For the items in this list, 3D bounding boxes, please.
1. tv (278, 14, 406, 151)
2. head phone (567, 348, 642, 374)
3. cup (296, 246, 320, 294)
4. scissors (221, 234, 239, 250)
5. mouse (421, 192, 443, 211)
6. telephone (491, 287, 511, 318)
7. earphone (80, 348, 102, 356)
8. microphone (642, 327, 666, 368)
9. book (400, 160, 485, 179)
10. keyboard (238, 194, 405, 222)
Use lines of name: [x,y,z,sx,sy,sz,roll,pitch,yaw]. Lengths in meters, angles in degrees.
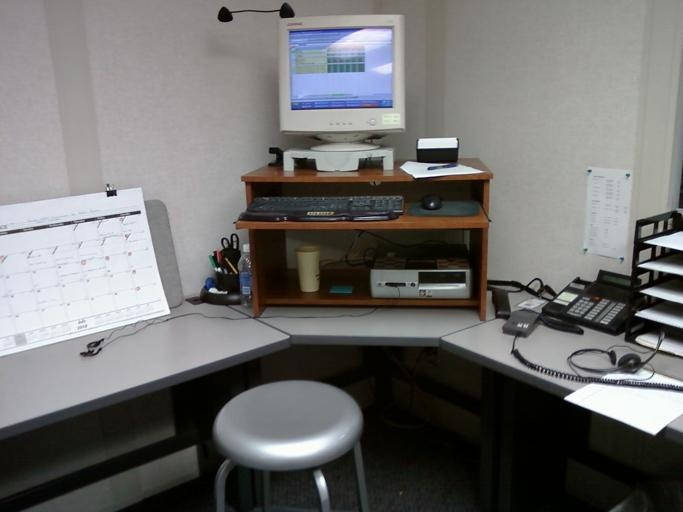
tv: [0.015,-0.726,2.313,0.515,0.470,0.286,1,8,8]
head phone: [0.842,0.340,1.759,0.125,0.037,0.108,-3,8,6]
cup: [-0.143,0.055,2.326,0.091,0.180,0.090,-1,15,0]
scissors: [-0.509,-0.065,2.483,0.059,0.105,0.061,4,11,26]
mouse: [0.353,-0.211,2.155,0.087,0.025,0.092,1,40,11]
telephone: [0.636,0.186,2.204,0.047,0.044,0.173,0,10,5]
earphone: [-0.892,0.336,1.955,0.070,0.016,0.061,-2,15,-3]
microphone: [1.027,0.298,1.791,0.028,0.113,0.098,30,0,2]
book: [0.388,-0.346,2.198,0.311,0.047,0.307,0,15,6]
keyboard: [-0.077,-0.188,2.134,0.615,0.066,0.255,-1,15,3]
